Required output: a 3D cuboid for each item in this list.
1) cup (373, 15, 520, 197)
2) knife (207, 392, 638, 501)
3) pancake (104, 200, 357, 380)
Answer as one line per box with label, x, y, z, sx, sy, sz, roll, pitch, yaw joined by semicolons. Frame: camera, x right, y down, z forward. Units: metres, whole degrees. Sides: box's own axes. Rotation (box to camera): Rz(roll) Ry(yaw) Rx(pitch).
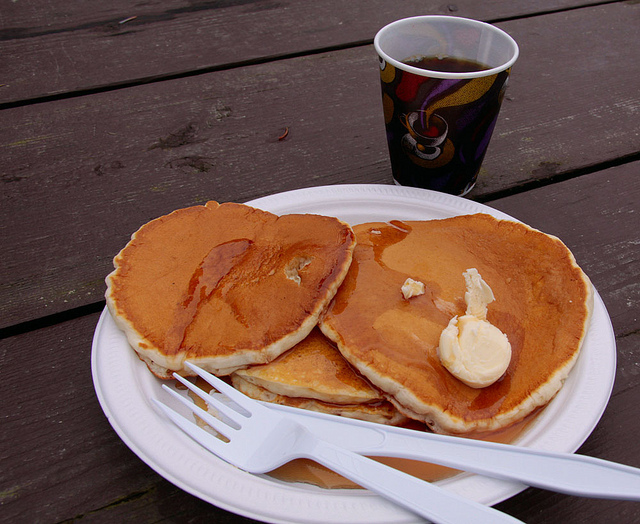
cup;0.265;-0.385;1.548;0.433;0.371;0.379;18;31;31
knife;0.173;0.322;1.115;0.881;0.037;0.086;8;44;8
pancake;-0.163;0.013;1.503;0.844;0.278;0.526;-3;18;-4
